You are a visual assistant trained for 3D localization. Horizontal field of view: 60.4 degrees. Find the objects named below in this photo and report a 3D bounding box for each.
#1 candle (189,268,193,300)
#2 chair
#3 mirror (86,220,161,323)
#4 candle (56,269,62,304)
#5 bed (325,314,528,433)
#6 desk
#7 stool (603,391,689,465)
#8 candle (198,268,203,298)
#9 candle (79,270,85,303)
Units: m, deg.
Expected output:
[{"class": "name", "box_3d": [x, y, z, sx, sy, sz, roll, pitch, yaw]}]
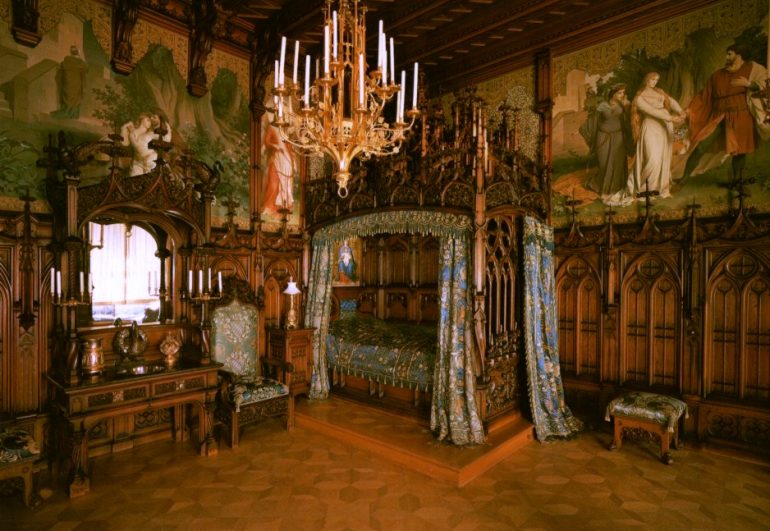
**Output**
[{"class": "candle", "box_3d": [-3.206, 0.294, 10.925, 0.077, 0.473, 0.263, 0, -1, -15]}, {"class": "chair", "box_3d": [-2.356, 1.630, 11.461, 1.274, 2.945, 1.146, 0, 1, -37]}, {"class": "mirror", "box_3d": [-4.199, 0.132, 10.697, 1.094, 1.611, 0.110, 0, -1, -39]}, {"class": "candle", "box_3d": [-4.770, 0.294, 9.665, 0.073, 0.420, 0.048, 0, -1, -22]}, {"class": "bed", "box_3d": [0.386, 1.763, 11.456, 2.288, 1.535, 3.751, 4, 0, -38]}, {"class": "desk", "box_3d": [-4.064, 1.873, 10.450, 1.641, 1.890, 2.844, -1, -1, 44]}, {"class": "stool", "box_3d": [4.313, 2.618, 10.837, 1.081, 0.939, 1.098, 0, -2, 30]}, {"class": "candle", "box_3d": [-3.020, 0.297, 10.831, 0.073, 0.457, 0.237, 0, -1, -18]}, {"class": "candle", "box_3d": [-4.503, 0.326, 9.795, 0.107, 0.460, 0.049, 0, -1, 7]}]
